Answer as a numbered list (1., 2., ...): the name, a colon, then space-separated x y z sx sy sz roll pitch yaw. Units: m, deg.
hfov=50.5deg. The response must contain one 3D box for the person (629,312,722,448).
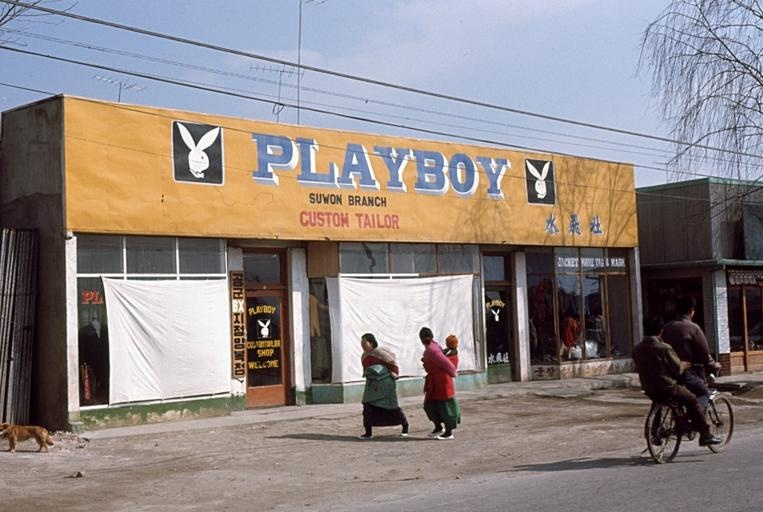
1. person: 5.108 2.237 14.210 1.239 1.750 0.446 -2 0 -6

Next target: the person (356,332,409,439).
1. person: 0.042 2.792 17.319 0.994 2.023 0.589 -2 0 1

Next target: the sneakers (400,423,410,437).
1. sneakers: 0.509 3.775 17.430 0.198 0.280 0.644 -2 -13 9

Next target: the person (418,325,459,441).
1. person: 1.239 2.704 17.034 0.748 2.058 0.445 -2 0 4

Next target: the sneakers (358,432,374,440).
1. sneakers: -0.324 3.862 17.262 0.266 0.267 0.137 4 -10 -3

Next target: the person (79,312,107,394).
1. person: -6.573 2.372 18.395 0.568 2.143 0.219 -2 0 -23

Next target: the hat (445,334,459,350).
1. hat: 1.523 1.913 17.932 0.279 0.370 0.374 2 2 25

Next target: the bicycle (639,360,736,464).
1. bicycle: 5.385 3.043 14.851 2.208 1.408 1.019 -10 3 -26
